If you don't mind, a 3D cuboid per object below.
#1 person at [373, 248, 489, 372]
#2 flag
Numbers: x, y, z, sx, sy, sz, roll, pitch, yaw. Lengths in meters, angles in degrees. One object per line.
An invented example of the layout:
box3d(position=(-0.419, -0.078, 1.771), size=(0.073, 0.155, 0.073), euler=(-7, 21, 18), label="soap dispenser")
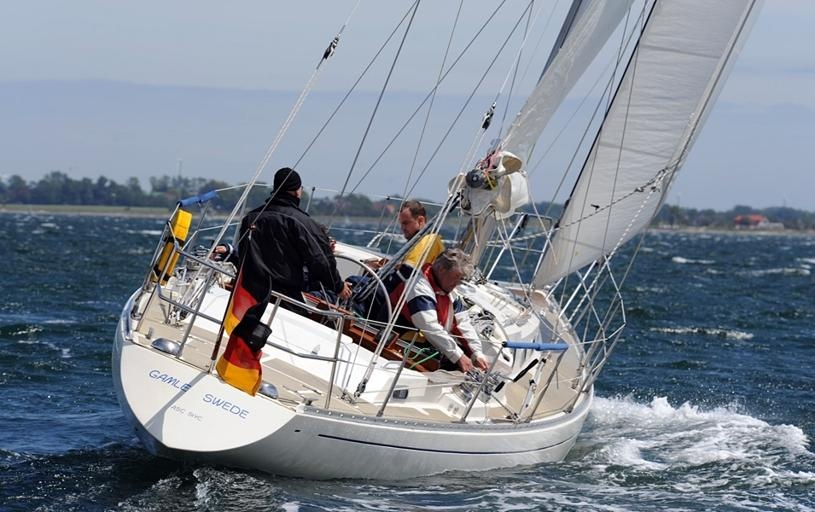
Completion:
box3d(position=(0.245, 0.662, 12.530), size=(0.931, 1.451, 0.622), euler=(33, 30, 9), label="person")
box3d(position=(-1.714, 0.665, 11.795), size=(0.517, 1.473, 0.556), euler=(10, 2, -3), label="flag")
